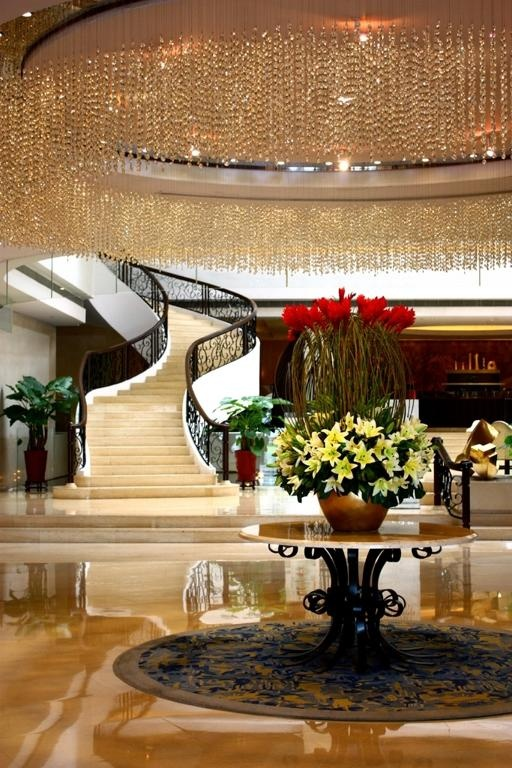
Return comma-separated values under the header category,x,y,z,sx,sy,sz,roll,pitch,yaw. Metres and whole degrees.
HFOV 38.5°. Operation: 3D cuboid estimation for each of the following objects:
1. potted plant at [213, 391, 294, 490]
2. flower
category,x,y,z,sx,sy,sz,roll,pitch,yaw
potted plant,-0.179,0.912,11.994,1.244,1.507,1.424,-2,-3,29
flower,0.424,0.047,3.424,0.632,1.067,0.526,-5,-7,42
